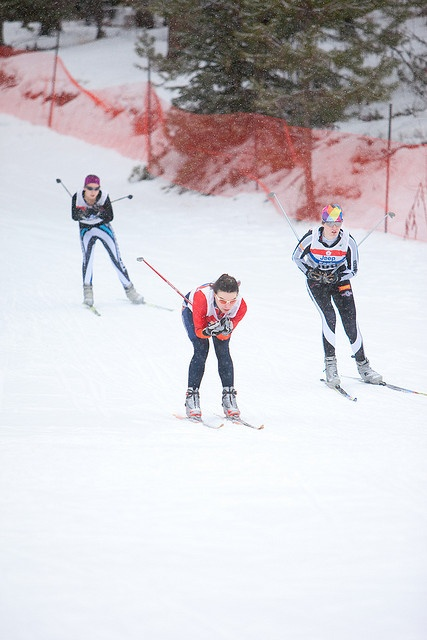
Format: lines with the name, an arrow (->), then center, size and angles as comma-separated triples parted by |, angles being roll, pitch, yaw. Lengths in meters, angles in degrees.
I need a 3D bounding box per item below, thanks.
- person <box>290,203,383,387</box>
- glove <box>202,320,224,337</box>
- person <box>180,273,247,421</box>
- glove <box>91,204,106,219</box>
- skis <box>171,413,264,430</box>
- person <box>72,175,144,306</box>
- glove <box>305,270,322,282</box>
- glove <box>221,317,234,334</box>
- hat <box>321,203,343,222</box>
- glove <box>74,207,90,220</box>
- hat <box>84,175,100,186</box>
person -> 0.949, -0.180, 5.691 | 0.707, 1.359, 0.505 | 3, 11, 5
glove -> 0.005, 0.053, 4.329 | 0.102, 0.073, 0.044 | -20, 33, 13
person -> -0.001, 0.167, 4.458 | 0.380, 0.953, 0.828 | 2, 10, -2
glove -> -1.072, -1.022, 7.015 | 0.079, 0.104, 0.044 | 2, 0, -26
skis -> 0.003, 0.621, 4.530 | 0.176, 0.036, 0.528 | 3, 1, -25
person -> -1.074, -0.750, 7.269 | 0.464, 1.275, 0.786 | 5, 11, 17
glove -> 0.775, -0.339, 5.719 | 0.098, 0.092, 0.032 | 2, 2, 15
glove -> 0.084, 0.034, 4.354 | 0.068, 0.089, 0.035 | -7, 13, -20
hat -> 0.867, -0.763, 5.446 | 0.121, 0.125, 0.162 | 0, 29, -1
glove -> -1.240, -0.990, 7.000 | 0.117, 0.107, 0.028 | 7, 15, -2
hat -> -1.110, -1.262, 6.875 | 0.116, 0.128, 0.143 | -1, 24, -14
